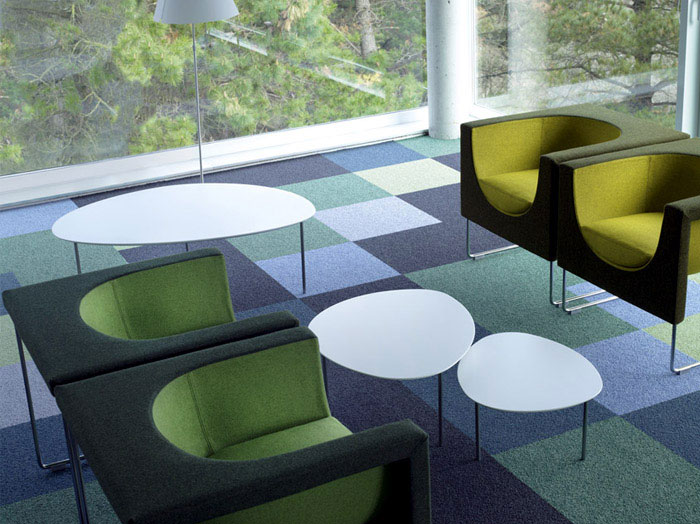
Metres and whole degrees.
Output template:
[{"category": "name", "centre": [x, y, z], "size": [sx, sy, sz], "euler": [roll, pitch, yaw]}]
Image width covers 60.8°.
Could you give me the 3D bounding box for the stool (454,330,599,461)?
[{"category": "stool", "centre": [0.749, 0.693, 2.817], "size": [0.633, 0.294, 0.623], "euler": [-16, 35, -21]}]

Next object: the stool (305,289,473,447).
[{"category": "stool", "centre": [0.189, 0.586, 3.109], "size": [0.841, 0.430, 0.752], "euler": [-18, 36, -28]}]

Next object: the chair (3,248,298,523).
[{"category": "chair", "centre": [-0.740, 0.398, 2.903], "size": [1.357, 1.058, 1.150], "euler": [-14, 35, -23]}]

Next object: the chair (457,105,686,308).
[{"category": "chair", "centre": [1.417, -0.479, 4.636], "size": [1.666, 1.384, 1.501], "euler": [-16, 31, -27]}]
